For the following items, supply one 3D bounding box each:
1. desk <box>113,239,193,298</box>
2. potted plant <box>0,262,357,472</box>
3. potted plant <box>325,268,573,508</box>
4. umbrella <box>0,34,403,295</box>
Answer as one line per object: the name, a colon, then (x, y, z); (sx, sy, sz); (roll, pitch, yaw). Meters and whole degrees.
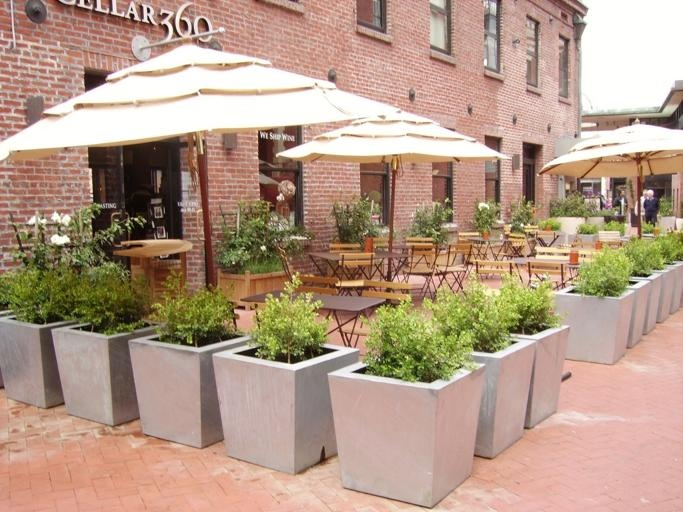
desk: (-2.816, 0.047, 9.084); (0.951, 0.732, 0.958); (4, 8, 30)
potted plant: (-0.816, 0.985, 5.212); (1.683, 1.388, 0.619); (5, 12, 26)
potted plant: (0.976, 1.011, 5.037); (2.202, 1.415, 0.772); (-10, 14, -42)
umbrella: (-1.427, -1.100, 5.162); (2.224, 1.629, 2.314); (1, 9, 36)
